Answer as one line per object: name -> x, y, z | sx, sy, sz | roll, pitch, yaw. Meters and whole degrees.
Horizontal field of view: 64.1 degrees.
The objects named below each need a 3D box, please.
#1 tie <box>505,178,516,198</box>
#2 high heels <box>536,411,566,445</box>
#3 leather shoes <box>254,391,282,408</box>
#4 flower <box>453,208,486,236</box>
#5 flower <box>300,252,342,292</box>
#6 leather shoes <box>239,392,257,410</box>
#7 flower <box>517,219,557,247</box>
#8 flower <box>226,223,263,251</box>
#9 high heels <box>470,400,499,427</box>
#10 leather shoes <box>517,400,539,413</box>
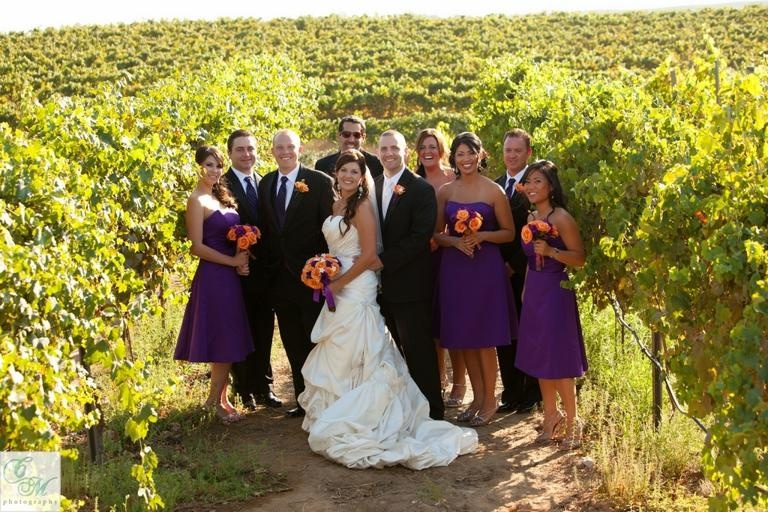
tie -> 1.442, -0.787, 7.059 | 0.064, 0.042, 0.287 | 2, 45, 27
high heels -> 1.752, 1.838, 6.426 | 0.181, 0.487, 0.183 | 20, 0, -1
leather shoes -> -1.410, 1.759, 7.502 | 0.316, 0.145, 0.155 | -1, 6, 9
flower -> 0.879, -0.336, 6.430 | 0.258, 0.270, 0.258 | -22, 44, -27
flower -> -0.664, 0.162, 6.401 | 0.369, 0.333, 0.179 | -2, 11, -6
leather shoes -> -1.630, 1.747, 7.357 | 0.155, 0.079, 0.201 | -39, 54, 3
flower -> 1.488, -0.240, 5.944 | 0.243, 0.262, 0.253 | 1, 17, 27
flower -> -1.527, -0.169, 6.755 | 0.289, 0.301, 0.284 | -29, 56, -23
high heels -> 1.150, 1.767, 6.891 | 0.439, 0.196, 0.156 | -11, 1, -38
leather shoes -> 1.663, 1.771, 7.191 | 0.299, 0.130, 0.102 | 3, -1, -31
